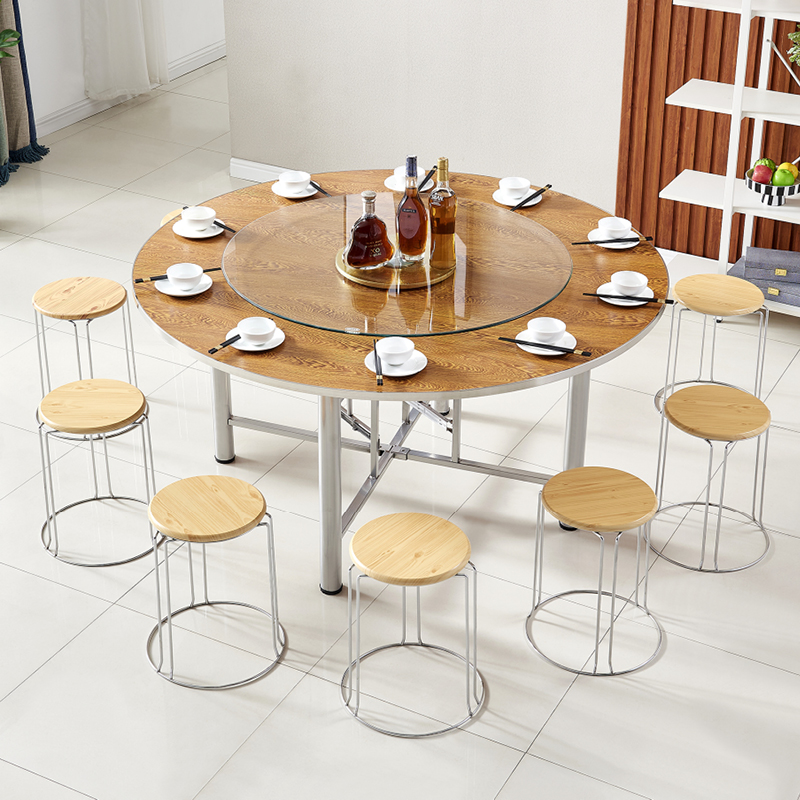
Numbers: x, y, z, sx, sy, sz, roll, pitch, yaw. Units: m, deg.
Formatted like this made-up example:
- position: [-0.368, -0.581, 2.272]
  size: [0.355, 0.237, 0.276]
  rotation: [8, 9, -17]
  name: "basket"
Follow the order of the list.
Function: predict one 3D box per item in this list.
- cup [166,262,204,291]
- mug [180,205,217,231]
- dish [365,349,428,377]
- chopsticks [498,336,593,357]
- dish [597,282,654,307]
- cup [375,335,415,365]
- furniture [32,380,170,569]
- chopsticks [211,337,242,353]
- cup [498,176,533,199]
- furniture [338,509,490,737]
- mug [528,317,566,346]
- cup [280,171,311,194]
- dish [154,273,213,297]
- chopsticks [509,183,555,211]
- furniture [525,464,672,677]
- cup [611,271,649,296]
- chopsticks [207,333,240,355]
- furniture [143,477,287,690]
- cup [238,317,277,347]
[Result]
- position: [-0.591, -0.345, 2.184]
  size: [0.102, 0.039, 0.083]
  rotation: [-3, 35, -6]
  name: "cup"
- position: [-0.638, -0.578, 2.511]
  size: [0.104, 0.041, 0.098]
  rotation: [24, 40, 27]
  name: "mug"
- position: [-0.012, -0.082, 1.862]
  size: [0.148, 0.032, 0.119]
  rotation: [-1, 23, -4]
  name: "dish"
- position: [0.345, -0.127, 1.939]
  size: [0.277, 0.015, 0.018]
  rotation: [8, 20, 10]
  name: "chopsticks"
- position: [0.605, -0.284, 2.171]
  size: [0.150, 0.044, 0.115]
  rotation: [6, 24, 13]
  name: "dish"
- position: [-0.012, -0.125, 1.871]
  size: [0.086, 0.033, 0.071]
  rotation: [-7, 34, -9]
  name: "cup"
- position: [-0.998, 0.264, 2.648]
  size: [0.440, 0.423, 0.411]
  rotation: [25, 39, 19]
  name: "furniture"
- position: [-0.419, -0.133, 1.920]
  size: [0.025, 0.014, 0.121]
  rotation: [20, 31, 24]
  name: "chopsticks"
- position: [0.395, -0.723, 2.790]
  size: [0.125, 0.045, 0.102]
  rotation: [-4, 41, -2]
  name: "cup"
- position: [0.027, 0.599, 2.085]
  size: [0.412, 0.383, 0.381]
  rotation: [-23, 40, -30]
  name: "furniture"
- position: [0.356, -0.179, 1.983]
  size: [0.089, 0.034, 0.074]
  rotation: [-4, 36, -4]
  name: "mug"
- position: [-0.361, -0.759, 2.782]
  size: [0.115, 0.042, 0.088]
  rotation: [24, 43, 28]
  name: "cup"
- position: [-0.593, -0.309, 2.193]
  size: [0.155, 0.045, 0.121]
  rotation: [-5, 24, -12]
  name: "dish"
- position: [0.437, -0.683, 2.732]
  size: [0.248, 0.026, 0.034]
  rotation: [-34, 56, -30]
  name: "chopsticks"
- position: [0.559, 0.508, 2.293]
  size: [0.509, 0.449, 0.424]
  rotation: [-3, 36, 1]
  name: "furniture"
- position: [0.614, -0.315, 2.166]
  size: [0.094, 0.039, 0.077]
  rotation: [-10, 40, -10]
  name: "cup"
- position: [-0.412, -0.139, 1.932]
  size: [0.028, 0.015, 0.132]
  rotation: [18, 30, 24]
  name: "chopsticks"
- position: [-0.517, 0.523, 2.209]
  size: [0.421, 0.395, 0.382]
  rotation: [-21, 43, -29]
  name: "furniture"
- position: [-0.341, -0.170, 1.959]
  size: [0.090, 0.033, 0.072]
  rotation: [-26, 49, -29]
  name: "cup"
